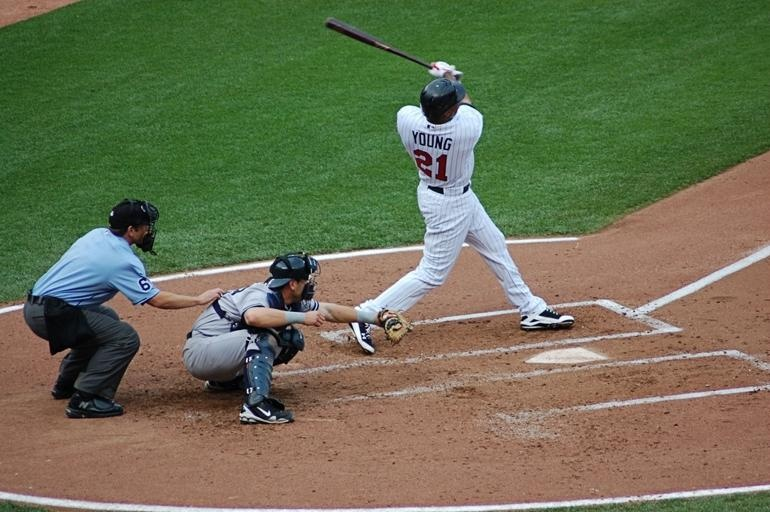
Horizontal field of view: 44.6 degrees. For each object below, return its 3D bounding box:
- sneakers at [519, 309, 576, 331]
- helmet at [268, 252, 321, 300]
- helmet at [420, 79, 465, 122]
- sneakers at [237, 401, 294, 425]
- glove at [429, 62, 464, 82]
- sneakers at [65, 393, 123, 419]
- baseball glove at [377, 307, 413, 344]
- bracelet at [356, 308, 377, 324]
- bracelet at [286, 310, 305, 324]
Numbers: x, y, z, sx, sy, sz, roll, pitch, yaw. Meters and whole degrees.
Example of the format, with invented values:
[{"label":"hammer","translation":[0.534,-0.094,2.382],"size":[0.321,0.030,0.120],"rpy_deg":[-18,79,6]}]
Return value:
[{"label":"sneakers","translation":[1.663,0.670,9.627],"size":[0.689,0.209,0.197],"rpy_deg":[-1,-1,1]},{"label":"helmet","translation":[-0.888,0.171,8.494],"size":[0.627,0.374,0.389],"rpy_deg":[-6,12,-12]},{"label":"helmet","translation":[0.572,-1.496,9.057],"size":[0.409,0.414,0.270],"rpy_deg":[-18,24,-38]},{"label":"sneakers","translation":[-1.058,1.395,8.285],"size":[0.584,0.192,0.185],"rpy_deg":[0,4,-2]},{"label":"glove","translation":[0.597,-1.889,9.550],"size":[0.367,0.109,0.215],"rpy_deg":[7,25,-10]},{"label":"sneakers","translation":[-2.610,1.354,8.486],"size":[0.556,0.239,0.202],"rpy_deg":[-1,5,-9]},{"label":"baseball glove","translation":[0.050,0.649,8.880],"size":[0.350,0.170,0.325],"rpy_deg":[24,43,-6]},{"label":"bracelet","translation":[-0.153,0.564,8.677],"size":[0.209,0.091,0.188],"rpy_deg":[11,7,30]},{"label":"bracelet","translation":[-0.797,0.542,8.378],"size":[0.164,0.100,0.135],"rpy_deg":[-3,17,-2]}]
